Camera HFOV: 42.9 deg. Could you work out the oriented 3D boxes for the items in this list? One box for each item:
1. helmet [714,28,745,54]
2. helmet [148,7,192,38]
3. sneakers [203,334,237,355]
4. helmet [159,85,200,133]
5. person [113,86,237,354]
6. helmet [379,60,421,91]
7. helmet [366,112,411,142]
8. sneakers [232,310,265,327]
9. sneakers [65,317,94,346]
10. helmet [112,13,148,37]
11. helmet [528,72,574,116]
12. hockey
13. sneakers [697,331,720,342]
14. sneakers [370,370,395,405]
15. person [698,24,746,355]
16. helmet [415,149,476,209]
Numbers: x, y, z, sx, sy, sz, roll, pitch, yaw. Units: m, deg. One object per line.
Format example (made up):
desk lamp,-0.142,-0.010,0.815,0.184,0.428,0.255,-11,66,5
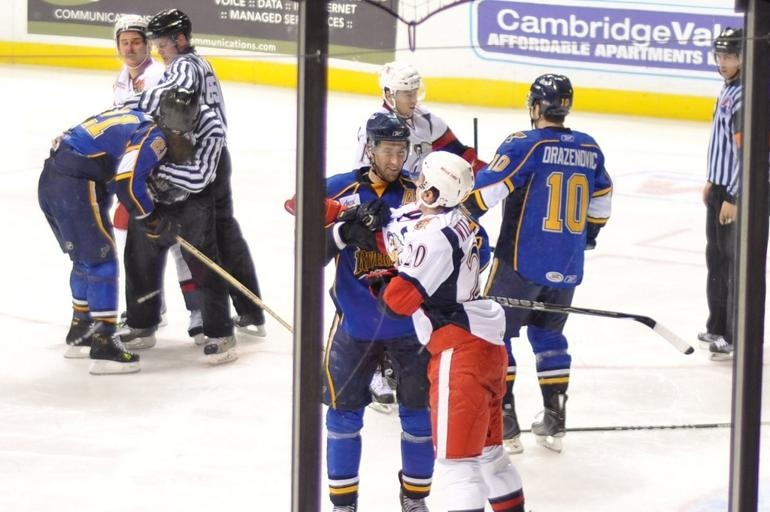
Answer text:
helmet,1.665,-1.063,4.777,0.127,0.132,0.651,4,12,18
helmet,-1.003,-1.084,4.572,0.167,0.147,0.137,1,-13,-24
sneakers,-0.804,0.423,4.752,0.143,0.089,0.086,3,13,-8
helmet,-0.945,-0.712,4.599,0.192,0.217,0.220,10,21,-13
person,-0.991,-0.126,4.589,0.527,1.298,0.162,-3,13,-13
helmet,0.106,-0.999,5.382,0.193,0.188,0.149,11,35,24
helmet,0.003,-0.586,4.477,0.129,0.144,0.161,-7,-4,-41
sneakers,-0.656,0.302,4.780,0.175,0.107,0.055,1,12,-11
sneakers,-1.465,0.358,4.703,0.137,0.127,0.043,0,3,11
helmet,-1.191,-1.092,4.602,0.118,0.120,0.131,0,-25,-8
helmet,0.836,-0.802,4.990,0.221,0.237,0.243,0,12,-34
hockey,1.091,0.389,5.402,1.431,0.139,0.199,7,38,-2
sneakers,1.864,0.463,5.666,0.043,0.049,0.120,-8,6,-34
sneakers,-0.010,0.717,5.382,0.177,0.214,0.229,0,-3,-1
person,1.842,-0.260,5.354,0.216,1.780,0.503,5,14,19
helmet,0.272,-0.340,4.214,0.260,0.221,0.195,1,29,6
